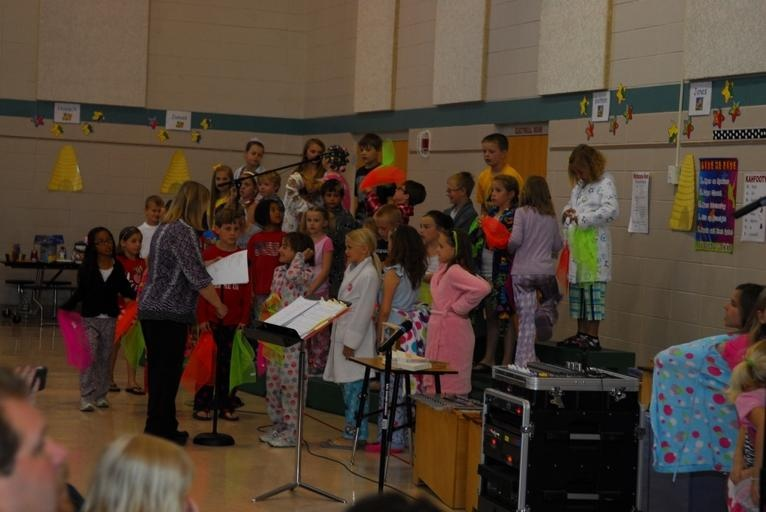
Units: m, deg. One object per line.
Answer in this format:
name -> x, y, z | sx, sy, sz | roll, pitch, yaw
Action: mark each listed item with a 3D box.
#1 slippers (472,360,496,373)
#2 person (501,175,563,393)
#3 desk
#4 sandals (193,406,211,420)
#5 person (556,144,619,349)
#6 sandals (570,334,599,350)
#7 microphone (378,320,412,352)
slippers -> 0.907, 1.007, 6.693 | 0.188, 0.071, 0.105 | 3, -3, -26
person -> 1.318, 0.115, 6.433 | 0.317, 1.625, 0.537 | 3, 2, 42
desk -> -5.135, 0.445, 10.998 | 1.259, 1.031, 1.044 | 2, 3, 31
sandals -> -1.677, 1.470, 6.823 | 0.074, 0.084, 0.202 | 2, -5, -29
person -> 1.836, -0.073, 6.563 | 0.447, 1.813, 0.415 | 2, 2, 13
sandals -> 1.843, 0.784, 6.667 | 0.202, 0.088, 0.119 | 12, -4, 0
microphone -> 0.080, 0.592, 5.521 | 0.094, 0.354, 0.108 | 38, 10, -8
